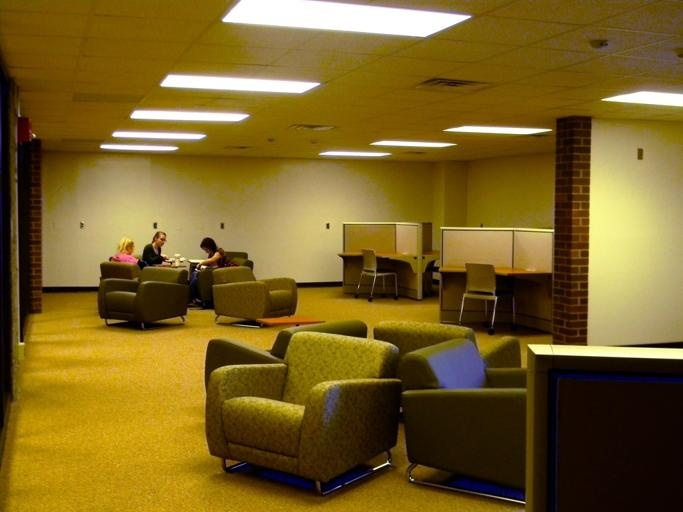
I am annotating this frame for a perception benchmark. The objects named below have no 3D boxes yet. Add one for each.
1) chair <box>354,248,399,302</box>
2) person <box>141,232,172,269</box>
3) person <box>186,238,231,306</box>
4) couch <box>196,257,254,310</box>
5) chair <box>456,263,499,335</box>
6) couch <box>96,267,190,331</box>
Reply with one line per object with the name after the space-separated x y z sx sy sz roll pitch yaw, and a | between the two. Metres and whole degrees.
0.812 0.400 12.132 0.997 1.130 1.044 1 4 28 | chair
-3.825 -0.043 11.070 0.621 0.892 0.594 4 -1 0 | person
-2.594 0.290 10.890 0.757 1.371 0.765 -8 13 -21 | person
-2.064 0.485 10.234 1.175 1.234 1.140 2 -4 -29 | couch
2.472 0.701 8.811 0.831 1.099 0.687 4 0 -35 | chair
-3.269 0.680 8.880 1.161 0.968 1.151 0 -1 31 | couch
